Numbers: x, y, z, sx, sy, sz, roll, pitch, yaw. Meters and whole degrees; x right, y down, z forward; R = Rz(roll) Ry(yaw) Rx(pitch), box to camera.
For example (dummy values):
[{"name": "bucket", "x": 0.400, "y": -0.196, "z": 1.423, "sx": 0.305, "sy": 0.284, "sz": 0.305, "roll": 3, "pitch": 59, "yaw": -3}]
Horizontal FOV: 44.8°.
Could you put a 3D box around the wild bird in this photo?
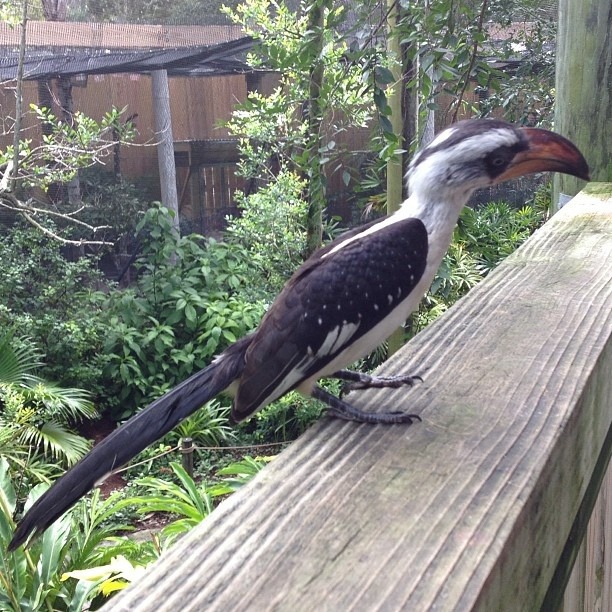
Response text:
[{"name": "wild bird", "x": -0.021, "y": 0.018, "z": 1.353, "sx": 1.172, "sy": 0.618, "sz": 0.309, "roll": -11, "pitch": 18, "yaw": -8}]
